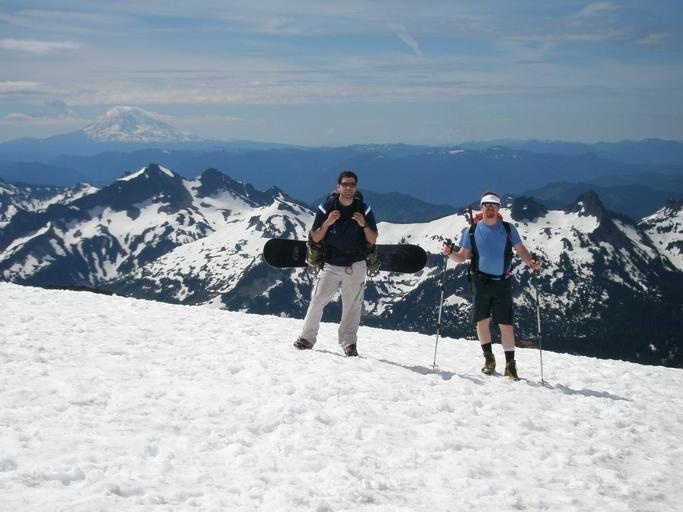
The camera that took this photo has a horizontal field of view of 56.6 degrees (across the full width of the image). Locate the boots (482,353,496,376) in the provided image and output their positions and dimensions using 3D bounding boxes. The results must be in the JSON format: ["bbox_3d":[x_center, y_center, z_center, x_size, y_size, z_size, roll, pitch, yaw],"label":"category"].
[{"bbox_3d":[4.204,3.195,18.691,0.694,0.634,0.327,2,5,14],"label":"boots"}]

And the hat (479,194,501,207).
[{"bbox_3d":[4.252,-1.605,17.972,0.520,0.408,0.709,8,12,9],"label":"hat"}]

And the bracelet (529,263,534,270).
[{"bbox_3d":[5.482,0.278,18.241,0.070,0.237,0.064,6,-10,-19],"label":"bracelet"}]
